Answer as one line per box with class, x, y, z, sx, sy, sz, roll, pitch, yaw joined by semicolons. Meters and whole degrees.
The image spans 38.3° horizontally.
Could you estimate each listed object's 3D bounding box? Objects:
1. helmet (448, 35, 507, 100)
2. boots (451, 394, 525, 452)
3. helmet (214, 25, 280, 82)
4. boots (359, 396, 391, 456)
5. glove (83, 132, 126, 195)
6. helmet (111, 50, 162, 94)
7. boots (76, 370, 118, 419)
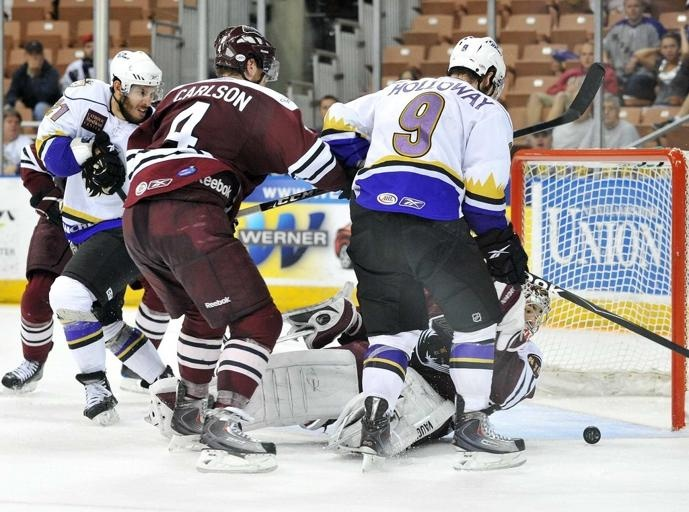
helmet;0.580;-0.848;4.405;0.231;0.269;0.284;13;1;44
boots;0.556;0.717;4.069;0.411;0.282;0.137;2;-6;2
helmet;-0.446;-0.899;4.392;0.269;0.222;0.222;-11;18;-31
boots;0.125;0.694;4.029;0.115;0.240;0.098;0;7;3
glove;-1.131;-0.419;4.623;0.212;0.274;0.134;1;-11;-29
helmet;-1.021;-0.881;4.813;0.234;0.203;0.196;-6;21;11
boots;-1.155;0.654;4.737;0.118;0.167;0.347;-33;8;-1
